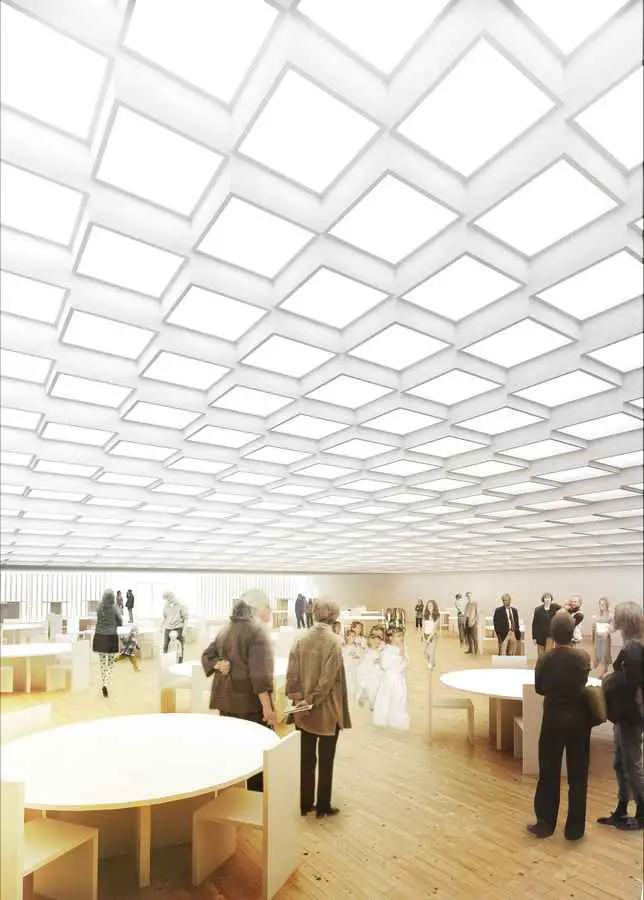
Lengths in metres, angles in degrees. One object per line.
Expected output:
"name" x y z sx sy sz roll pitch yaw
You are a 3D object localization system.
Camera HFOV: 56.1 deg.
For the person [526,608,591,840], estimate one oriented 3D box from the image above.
"person" 1.494 1.715 3.785 0.445 1.340 0.214 -6 -11 26
